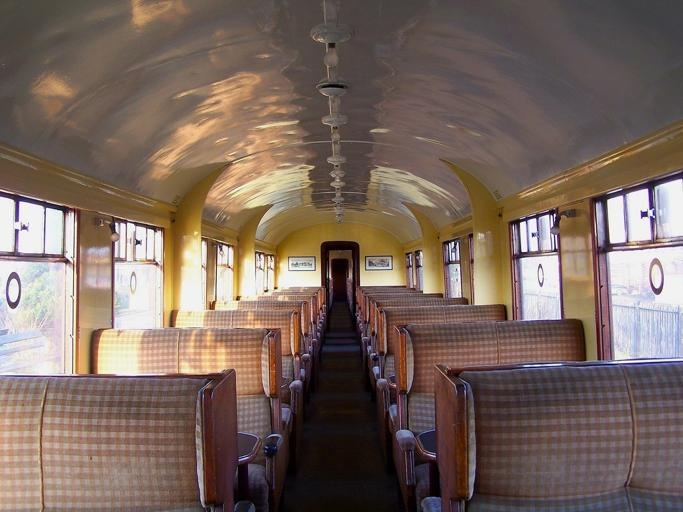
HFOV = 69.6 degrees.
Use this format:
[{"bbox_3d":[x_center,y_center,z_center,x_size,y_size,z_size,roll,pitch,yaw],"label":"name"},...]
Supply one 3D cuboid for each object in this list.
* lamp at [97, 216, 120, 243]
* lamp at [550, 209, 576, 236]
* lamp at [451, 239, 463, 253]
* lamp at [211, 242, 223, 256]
[{"bbox_3d":[-2.806,-0.342,6.007,0.237,0.405,0.171,-2,2,-7],"label":"lamp"},{"bbox_3d":[2.747,-0.435,6.144,0.206,0.312,0.534,-1,2,7],"label":"lamp"},{"bbox_3d":[2.682,-0.246,11.393,0.286,0.390,0.206,-1,1,4],"label":"lamp"},{"bbox_3d":[-2.757,-0.177,10.820,0.289,0.302,0.135,-2,1,-17],"label":"lamp"}]
